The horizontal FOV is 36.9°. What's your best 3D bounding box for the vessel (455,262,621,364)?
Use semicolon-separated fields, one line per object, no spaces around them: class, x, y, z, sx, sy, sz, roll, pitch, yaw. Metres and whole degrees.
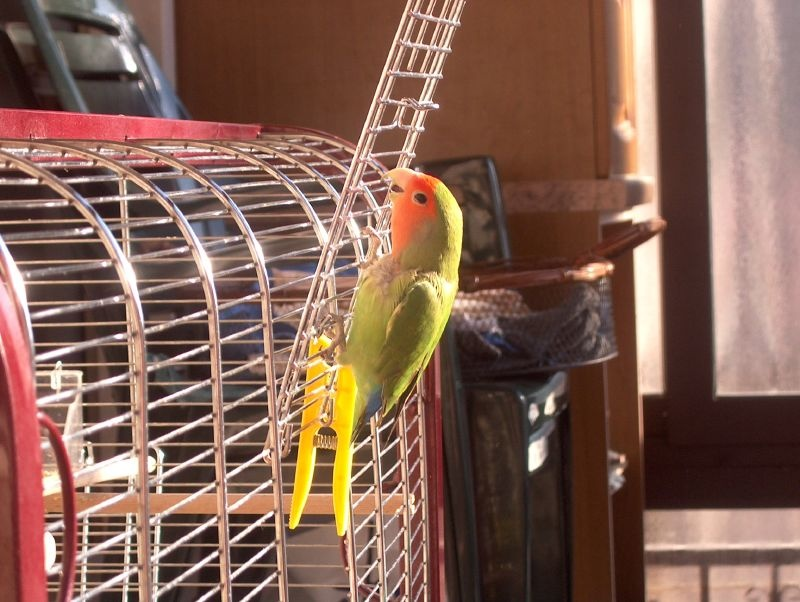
vessel;0.232;0.026;2.083;0.159;0.105;0.209;2;-4;-29

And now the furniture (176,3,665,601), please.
furniture;-0.005;-0.091;1.943;0.637;1.258;0.271;2;-7;28
